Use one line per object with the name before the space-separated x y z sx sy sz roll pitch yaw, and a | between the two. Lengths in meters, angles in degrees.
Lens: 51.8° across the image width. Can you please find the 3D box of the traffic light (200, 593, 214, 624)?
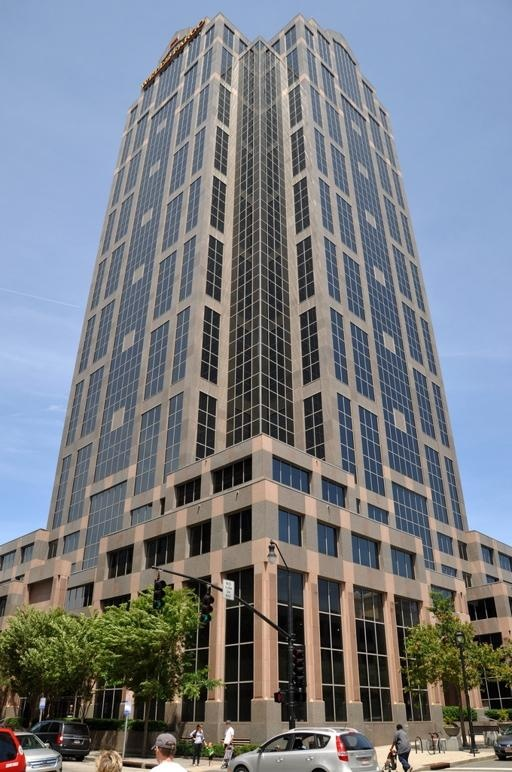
traffic light | -1.775 7.983 19.097 0.337 0.909 0.912 5 -29 -8
